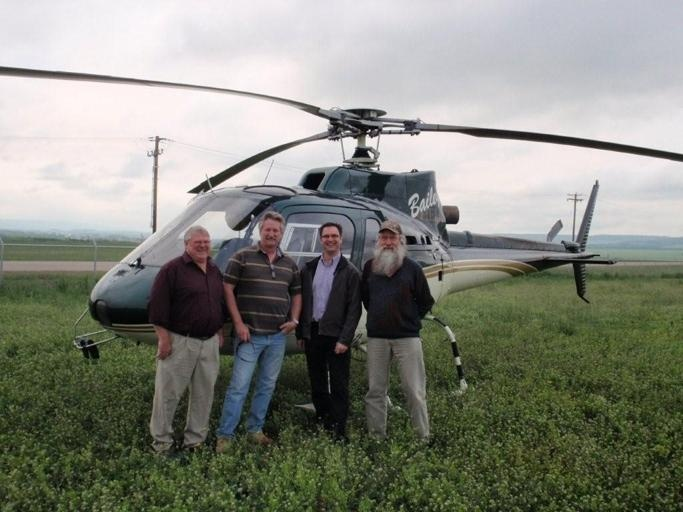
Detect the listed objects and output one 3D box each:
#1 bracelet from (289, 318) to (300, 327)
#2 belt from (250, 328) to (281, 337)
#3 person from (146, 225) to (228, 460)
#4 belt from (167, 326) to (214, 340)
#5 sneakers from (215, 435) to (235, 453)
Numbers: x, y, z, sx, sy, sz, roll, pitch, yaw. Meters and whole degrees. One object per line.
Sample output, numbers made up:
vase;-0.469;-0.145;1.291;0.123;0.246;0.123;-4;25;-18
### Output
bracelet;-0.532;0.743;5.459;0.090;0.051;0.090;14;-10;-38
belt;-0.842;0.834;5.322;0.341;0.098;0.059;1;7;-23
person;-1.650;0.878;5.131;0.765;2.396;0.326;2;6;-17
belt;-1.576;0.815;5.073;0.437;0.144;0.085;1;6;-21
sneakers;-1.255;2.038;5.208;0.167;0.142;0.150;0;-22;-3
